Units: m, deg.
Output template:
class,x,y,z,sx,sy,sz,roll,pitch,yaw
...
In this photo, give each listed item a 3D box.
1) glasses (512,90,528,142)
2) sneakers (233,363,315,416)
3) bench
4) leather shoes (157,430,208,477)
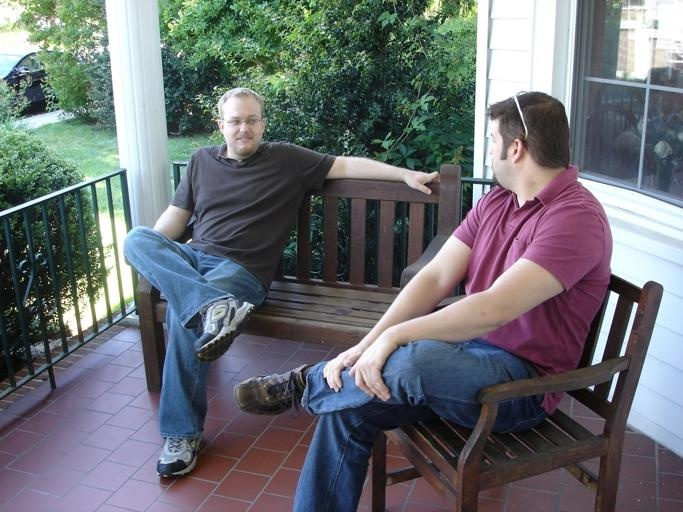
class,x,y,z,sx,sy,sz,roll,pitch,yaw
glasses,0.631,-0.494,1.820,0.037,0.144,0.131,-4,13,7
sneakers,-0.281,0.549,2.178,0.425,0.156,0.192,-6,-1,0
bench,-0.280,0.113,2.767,1.232,1.010,0.541,2,20,9
leather shoes,-0.815,0.994,2.613,0.108,0.132,0.257,1,8,6
